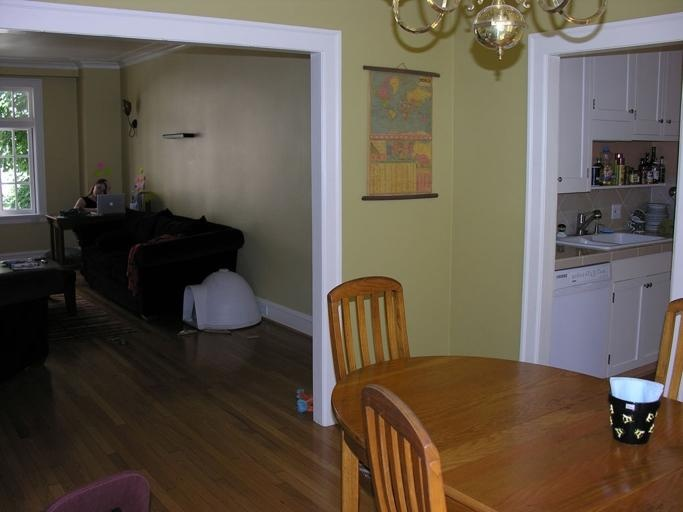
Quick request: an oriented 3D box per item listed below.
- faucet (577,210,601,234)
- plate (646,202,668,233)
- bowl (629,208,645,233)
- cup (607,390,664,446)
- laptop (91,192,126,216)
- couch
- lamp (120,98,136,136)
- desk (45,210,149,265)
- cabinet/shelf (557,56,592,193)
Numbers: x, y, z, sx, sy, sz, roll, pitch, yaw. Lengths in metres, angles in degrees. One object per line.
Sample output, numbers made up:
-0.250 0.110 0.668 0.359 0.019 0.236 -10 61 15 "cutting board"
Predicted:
2.321 -0.325 4.674 0.387 0.218 0.121 -10 14 -42 "faucet"
3.193 -0.396 5.052 0.325 0.280 0.173 -9 13 -37 "plate"
2.978 -0.361 5.064 0.161 0.218 0.192 -21 -1 20 "bowl"
0.901 0.514 1.551 0.149 0.121 0.135 -3 9 -26 "cup"
-3.686 -0.842 8.030 0.453 0.331 0.327 -3 10 -38 "laptop"
-2.427 0.018 6.556 1.181 1.158 2.553 -9 14 -40 "couch"
-3.633 -2.415 8.613 0.147 0.674 0.648 -6 12 -29 "lamp"
-4.074 -0.526 8.198 1.582 1.184 0.911 -8 16 -34 "desk"
1.857 -1.057 4.000 0.523 1.066 0.147 -11 15 -44 "cabinet/shelf"
